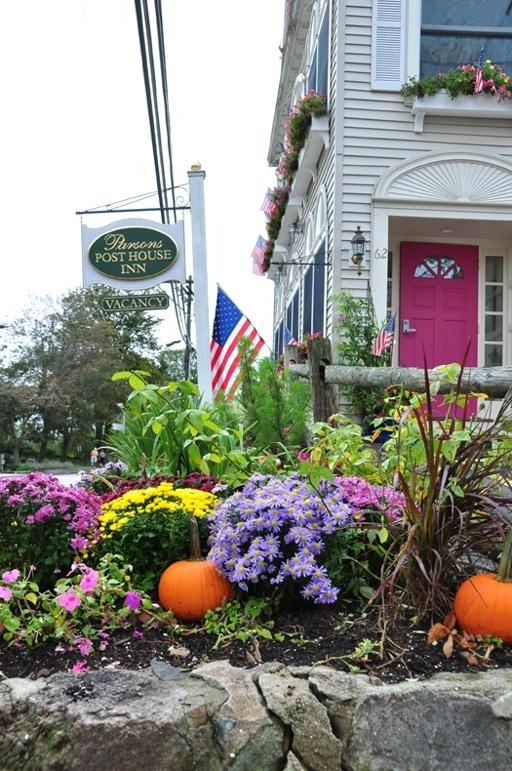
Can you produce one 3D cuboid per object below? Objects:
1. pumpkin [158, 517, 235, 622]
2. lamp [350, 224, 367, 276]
[{"bbox_3d":[-0.217,0.660,2.587,0.234,0.316,0.237,-6,5,-21],"label":"pumpkin"},{"bbox_3d":[1.063,-1.336,7.049,0.158,0.483,0.309,-2,4,8],"label":"lamp"}]
